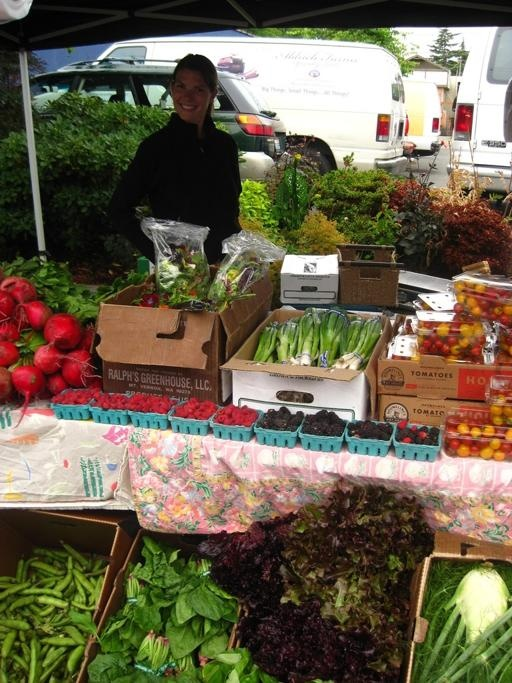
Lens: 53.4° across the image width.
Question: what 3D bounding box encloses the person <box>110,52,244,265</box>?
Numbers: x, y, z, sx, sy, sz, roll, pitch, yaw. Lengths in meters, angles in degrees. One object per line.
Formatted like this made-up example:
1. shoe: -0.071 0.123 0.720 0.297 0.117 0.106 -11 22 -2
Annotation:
1. person: -0.413 -1.006 2.923 0.281 1.141 0.934 15 25 32

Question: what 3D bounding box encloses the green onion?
1. green onion: 0.251 -0.006 2.274 0.362 0.134 0.343 4 25 19
